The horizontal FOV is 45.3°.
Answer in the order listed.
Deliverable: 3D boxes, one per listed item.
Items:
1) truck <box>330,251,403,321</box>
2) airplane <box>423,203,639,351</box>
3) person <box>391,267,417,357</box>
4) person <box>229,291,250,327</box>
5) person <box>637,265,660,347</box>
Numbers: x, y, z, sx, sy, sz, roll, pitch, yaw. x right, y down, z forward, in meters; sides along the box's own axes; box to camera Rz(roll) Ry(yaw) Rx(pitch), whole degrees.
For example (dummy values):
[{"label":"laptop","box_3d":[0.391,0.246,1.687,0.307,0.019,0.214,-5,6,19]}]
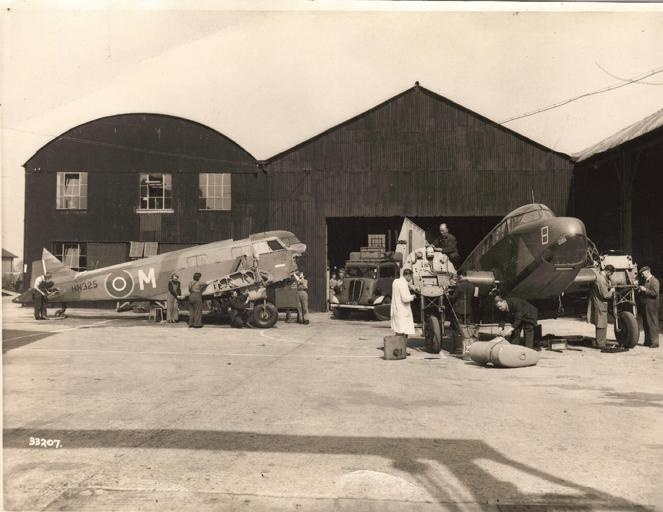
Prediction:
[{"label":"truck","box_3d":[1.147,0.980,29.365,1.649,1.986,3.246,-3,-7,23]},{"label":"airplane","box_3d":[5.569,0.326,22.064,3.873,2.993,4.881,2,-10,-12]},{"label":"person","box_3d":[1.797,1.243,20.120,0.582,1.893,1.499,0,12,5]},{"label":"person","box_3d":[-2.922,1.773,25.845,0.357,1.120,0.732,3,-1,-35]},{"label":"person","box_3d":[8.545,1.405,21.367,0.610,2.140,0.686,4,13,22]}]
